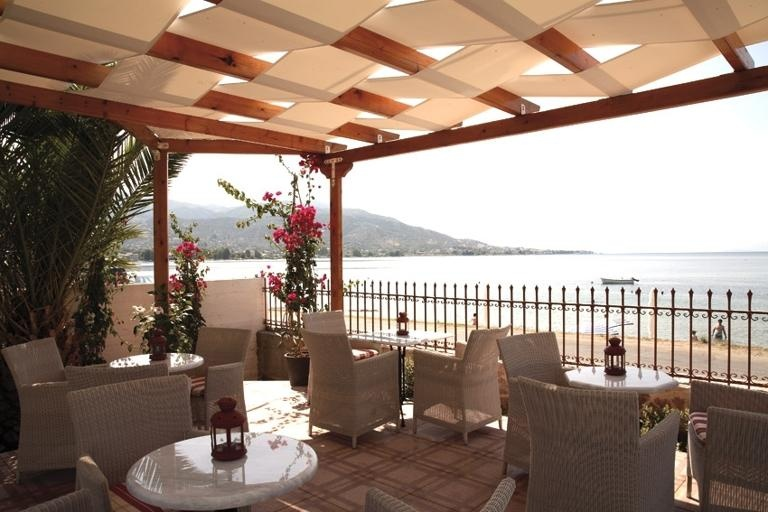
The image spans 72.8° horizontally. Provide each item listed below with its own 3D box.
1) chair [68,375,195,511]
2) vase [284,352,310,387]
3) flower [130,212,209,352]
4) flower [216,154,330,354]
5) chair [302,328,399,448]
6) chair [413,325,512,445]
[{"bbox_3d":[-2.024,1.435,4.391,0.818,1.110,0.879,-3,-2,-42],"label":"chair"},{"bbox_3d":[-1.345,1.831,8.370,0.446,0.365,0.483,0,-5,10],"label":"vase"},{"bbox_3d":[-3.147,0.389,7.770,0.968,2.073,1.553,-1,2,-18],"label":"flower"},{"bbox_3d":[-1.613,-0.015,8.492,1.305,3.212,0.680,1,2,28],"label":"flower"},{"bbox_3d":[-0.409,1.530,6.335,1.065,1.209,1.033,-1,-1,-33],"label":"chair"},{"bbox_3d":[0.929,1.470,6.298,1.001,1.206,1.017,1,-1,28],"label":"chair"}]
